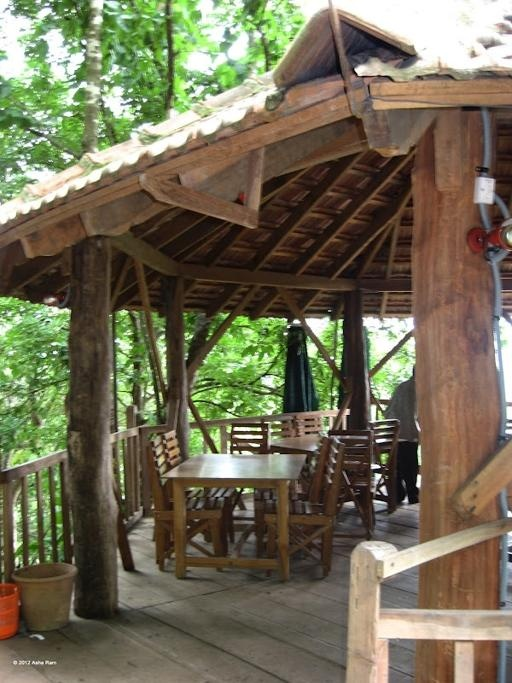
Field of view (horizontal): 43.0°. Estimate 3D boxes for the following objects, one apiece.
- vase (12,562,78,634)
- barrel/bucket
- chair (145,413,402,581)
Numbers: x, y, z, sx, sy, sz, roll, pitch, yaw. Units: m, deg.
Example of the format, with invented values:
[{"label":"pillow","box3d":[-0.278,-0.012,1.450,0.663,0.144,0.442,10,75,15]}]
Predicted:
[{"label":"vase","box3d":[-1.148,1.410,3.597,0.360,0.244,0.354,-1,-2,39]},{"label":"barrel/bucket","box3d":[-1.151,1.399,3.606,0.359,0.244,0.355,0,-1,0]},{"label":"chair","box3d":[-0.079,1.216,4.795,1.383,0.604,1.280,1,0,6]}]
